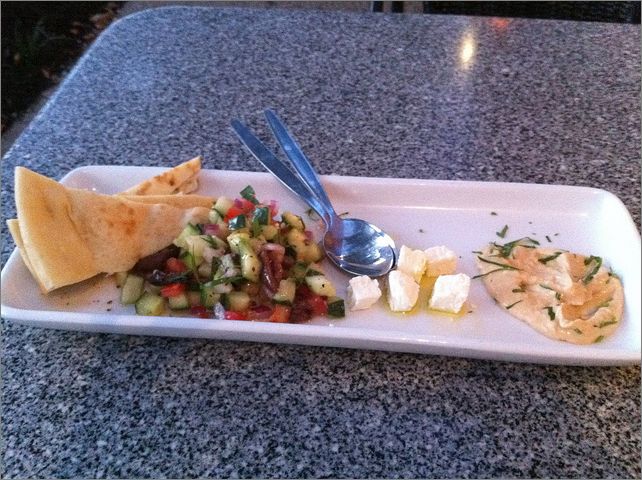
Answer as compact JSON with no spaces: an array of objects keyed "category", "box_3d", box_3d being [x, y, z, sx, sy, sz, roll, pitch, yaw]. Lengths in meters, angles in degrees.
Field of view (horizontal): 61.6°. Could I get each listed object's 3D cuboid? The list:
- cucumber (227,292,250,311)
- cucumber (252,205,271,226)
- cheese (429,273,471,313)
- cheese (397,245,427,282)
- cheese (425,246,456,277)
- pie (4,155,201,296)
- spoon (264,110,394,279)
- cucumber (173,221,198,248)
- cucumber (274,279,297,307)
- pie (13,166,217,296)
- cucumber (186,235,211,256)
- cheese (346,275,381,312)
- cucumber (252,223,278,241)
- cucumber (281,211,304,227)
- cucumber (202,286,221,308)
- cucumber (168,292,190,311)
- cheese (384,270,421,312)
[{"category":"cucumber","box_3d":[-0.207,0.154,1.341,0.085,0.044,0.047,3,85,-11]},{"category":"cucumber","box_3d":[-0.158,-0.064,1.418,0.050,0.017,0.043,1,68,-1]},{"category":"cheese","box_3d":[0.327,0.136,1.350,0.086,0.081,0.099,17,72,16]},{"category":"cheese","box_3d":[0.240,0.063,1.445,0.102,0.030,0.085,20,73,-2]},{"category":"cheese","box_3d":[0.315,0.063,1.469,0.086,0.056,0.077,-18,37,-19]},{"category":"pie","box_3d":[-0.613,-0.092,1.599,0.629,0.328,0.443,-14,28,-24]},{"category":"spoon","box_3d":[-0.019,-0.154,1.578,0.175,0.077,0.645,-24,52,-20]},{"category":"cucumber","box_3d":[-0.358,-0.012,1.424,0.073,0.022,0.059,12,66,35]},{"category":"cucumber","box_3d":[-0.096,0.130,1.325,0.041,0.019,0.063,-3,37,7]},{"category":"pie","box_3d":[-0.634,-0.084,1.625,0.626,0.307,0.449,-15,28,-29]},{"category":"cucumber","box_3d":[-0.323,0.013,1.399,0.051,0.027,0.059,-42,68,-10]},{"category":"cheese","box_3d":[0.100,0.143,1.381,0.098,0.063,0.082,7,44,1]},{"category":"cucumber","box_3d":[-0.147,-0.022,1.421,0.049,0.049,0.027,10,101,36]},{"category":"cucumber","box_3d":[-0.077,-0.048,1.487,0.049,0.013,0.048,32,21,-11]},{"category":"cucumber","box_3d":[-0.276,0.140,1.349,0.035,0.061,0.054,-5,89,49]},{"category":"cucumber","box_3d":[-0.358,0.158,1.351,0.081,0.038,0.047,-1,99,-9]},{"category":"cheese","box_3d":[0.203,0.130,1.340,0.090,0.033,0.092,9,63,5]}]
